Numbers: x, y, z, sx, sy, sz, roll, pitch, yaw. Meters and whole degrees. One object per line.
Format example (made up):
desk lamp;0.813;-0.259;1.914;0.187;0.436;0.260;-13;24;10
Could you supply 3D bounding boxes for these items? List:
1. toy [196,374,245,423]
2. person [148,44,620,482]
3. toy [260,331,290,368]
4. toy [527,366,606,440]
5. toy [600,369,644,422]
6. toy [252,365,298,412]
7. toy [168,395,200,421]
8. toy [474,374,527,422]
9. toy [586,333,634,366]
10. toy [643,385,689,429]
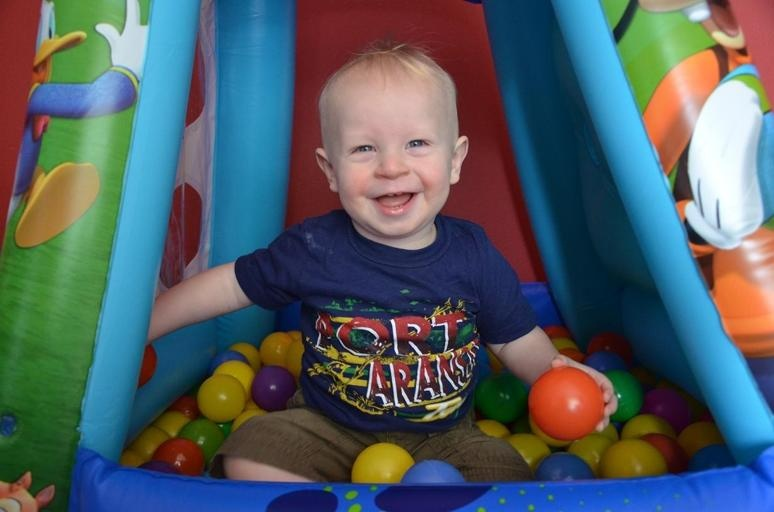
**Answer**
toy;-0.481;0.412;1.872;0.134;0.167;0.141;5;13;-5
person;-0.043;0.065;1.504;1.129;1.022;0.654;2;16;6
toy;-0.362;0.305;2.088;0.095;0.119;0.098;4;6;-14
toy;0.390;0.318;1.498;0.153;0.165;0.184;-6;5;0
toy;0.674;0.396;1.838;0.106;0.130;0.111;-8;20;26
toy;-0.343;0.402;1.924;0.122;0.153;0.125;-5;-5;33
toy;-0.603;0.455;1.916;0.063;0.082;0.065;11;-17;-7
toy;0.327;0.410;1.841;0.103;0.122;0.106;36;55;27
toy;0.703;0.281;2.007;0.111;0.140;0.114;4;-9;-1
toy;0.784;0.426;1.834;0.102;0.132;0.106;0;-23;17
